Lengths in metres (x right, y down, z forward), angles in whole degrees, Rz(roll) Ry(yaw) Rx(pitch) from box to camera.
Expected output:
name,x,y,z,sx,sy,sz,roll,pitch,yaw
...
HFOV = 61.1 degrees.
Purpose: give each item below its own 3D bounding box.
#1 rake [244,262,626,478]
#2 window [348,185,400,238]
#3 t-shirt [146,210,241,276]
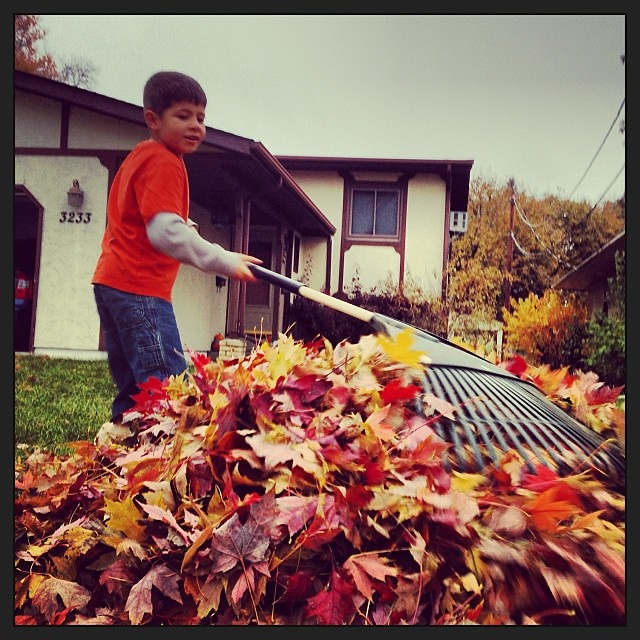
name,x,y,z,sx,sy,sz,roll,pitch,yaw
rake,0.481,0.191,1.749,0.350,0.281,0.804,32,-8,-36
window,0.221,-0.425,2.142,0.171,0.247,0.023,-1,-22,15
t-shirt,-0.453,-0.262,1.917,0.233,0.097,0.197,29,6,4
